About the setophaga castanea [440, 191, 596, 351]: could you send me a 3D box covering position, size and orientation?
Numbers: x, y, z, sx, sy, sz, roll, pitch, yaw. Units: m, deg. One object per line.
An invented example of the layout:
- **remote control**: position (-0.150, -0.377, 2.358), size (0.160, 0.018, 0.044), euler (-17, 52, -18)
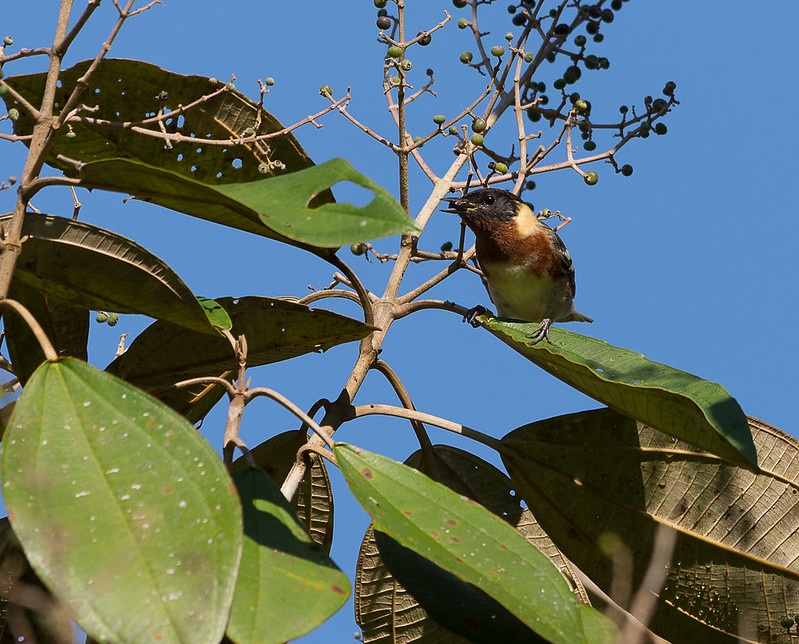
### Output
- **setophaga castanea**: position (0.632, -0.240, 6.430), size (0.473, 0.740, 1.029), euler (1, -1, 35)
